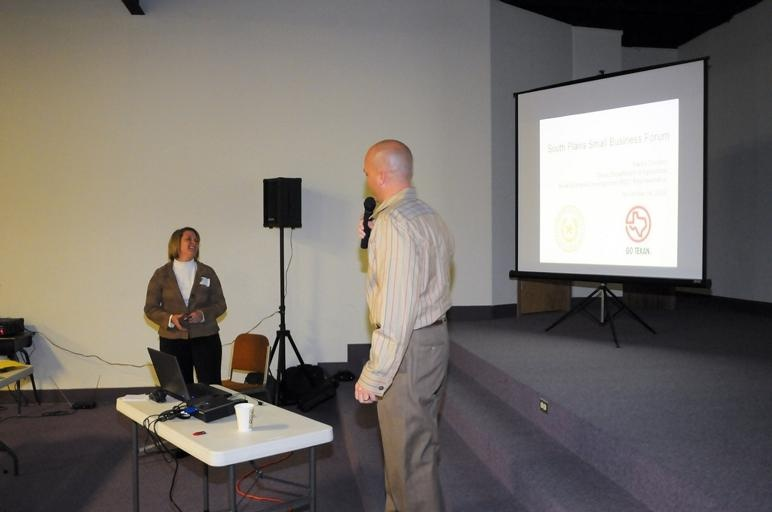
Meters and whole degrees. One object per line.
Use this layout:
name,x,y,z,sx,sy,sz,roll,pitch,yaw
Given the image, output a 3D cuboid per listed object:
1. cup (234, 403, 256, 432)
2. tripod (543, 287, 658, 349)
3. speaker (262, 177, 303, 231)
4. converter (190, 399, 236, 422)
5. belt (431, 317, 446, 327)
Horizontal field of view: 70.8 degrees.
cup,-1.030,1.178,4.023,0.169,0.199,0.185,-1,-8,0
tripod,2.527,0.629,6.333,0.795,0.610,0.778,-1,-6,7
speaker,-1.243,-0.619,6.796,0.555,0.906,0.532,0,0,-11
converter,-1.304,1.170,4.156,0.172,0.068,0.181,-8,10,-44
belt,0.385,0.464,3.907,0.071,0.028,0.054,-16,-5,-37
